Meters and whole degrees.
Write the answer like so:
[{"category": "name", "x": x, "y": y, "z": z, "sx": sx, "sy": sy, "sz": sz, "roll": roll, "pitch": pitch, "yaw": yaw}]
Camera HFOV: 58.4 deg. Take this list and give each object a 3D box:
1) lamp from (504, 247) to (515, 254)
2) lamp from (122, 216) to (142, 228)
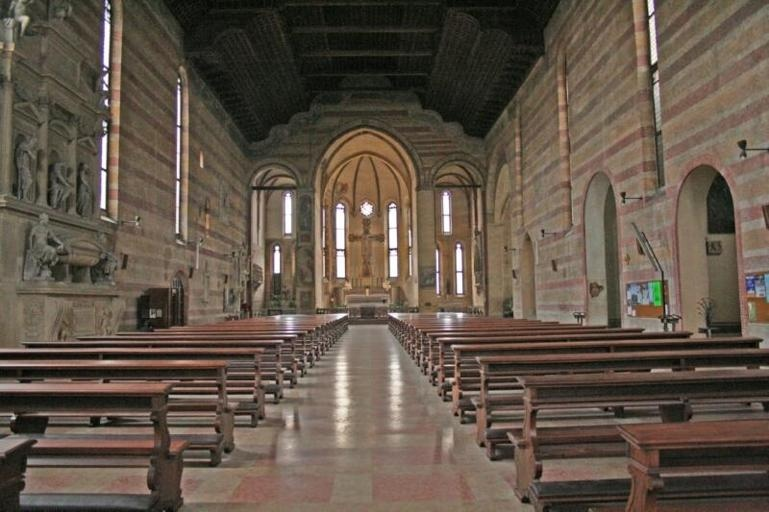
[{"category": "lamp", "x": 5.708, "y": -0.282, "z": 31.503, "sx": 0.576, "sy": 0.327, "sz": 0.313, "roll": 0, "pitch": 0, "yaw": 9}, {"category": "lamp", "x": -7.238, "y": -1.012, "z": 19.753, "sx": 0.306, "sy": 0.398, "sz": 1.051, "roll": 0, "pitch": -10, "yaw": -5}]
